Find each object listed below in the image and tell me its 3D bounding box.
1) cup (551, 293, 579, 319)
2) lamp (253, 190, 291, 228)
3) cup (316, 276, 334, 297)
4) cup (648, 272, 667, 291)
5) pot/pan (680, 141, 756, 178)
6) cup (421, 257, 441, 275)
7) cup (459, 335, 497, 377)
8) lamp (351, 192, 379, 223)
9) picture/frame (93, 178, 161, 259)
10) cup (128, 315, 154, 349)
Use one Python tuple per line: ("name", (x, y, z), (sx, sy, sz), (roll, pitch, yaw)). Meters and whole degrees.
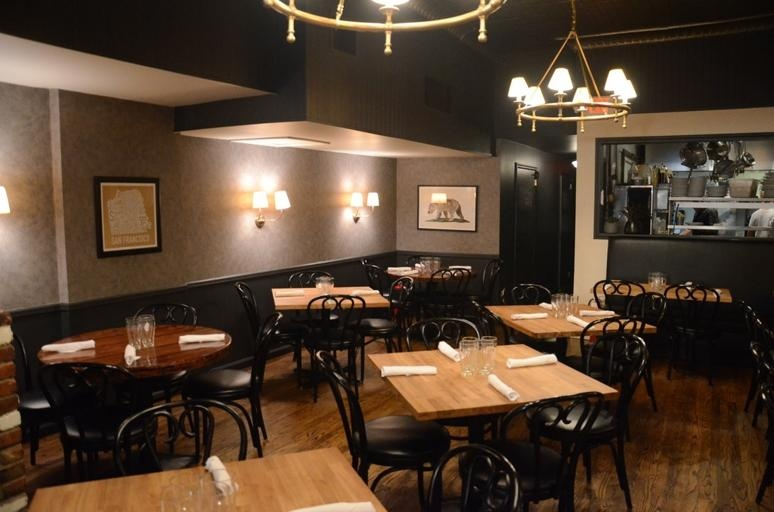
("cup", (1.822, 0.503, 5.584), (0.306, 0.287, 0.204), (1, 1, 41))
("lamp", (-1.445, -0.602, 7.316), (0.338, 0.491, 0.669), (2, 6, 27))
("cup", (-0.735, 0.343, 6.602), (0.232, 0.216, 0.178), (0, 5, -8))
("cup", (3.320, 0.319, 7.069), (0.235, 0.236, 0.233), (0, 0, 0))
("pot/pan", (4.626, -1.339, 7.983), (0.895, 0.545, 0.122), (3, 7, 34))
("cup", (0.611, 0.148, 8.254), (0.268, 0.259, 0.264), (0, 1, 0))
("cup", (0.655, 0.749, 4.291), (0.207, 0.258, 0.310), (0, 0, -13))
("lamp", (-0.383, -0.769, 8.947), (0.554, 0.528, 0.364), (-2, -1, -40))
("picture/frame", (-2.712, -0.397, 5.827), (0.071, 0.898, 0.826), (6, 9, 40))
("cup", (-2.007, 0.628, 4.643), (0.225, 0.275, 0.147), (-6, 8, -41))
